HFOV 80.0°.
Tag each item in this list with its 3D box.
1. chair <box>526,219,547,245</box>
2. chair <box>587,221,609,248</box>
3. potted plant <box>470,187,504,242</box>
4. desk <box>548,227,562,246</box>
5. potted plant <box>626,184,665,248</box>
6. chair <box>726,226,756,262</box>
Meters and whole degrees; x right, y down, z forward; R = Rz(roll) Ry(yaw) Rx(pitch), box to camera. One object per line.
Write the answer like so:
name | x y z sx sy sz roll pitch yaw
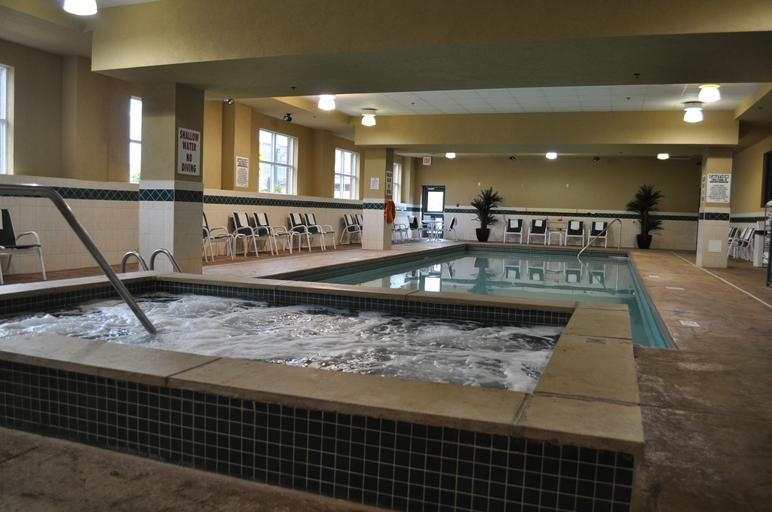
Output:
chair | 6.131 -1.012 18.449 0.878 1.165 1.095 2 3 22
chair | 8.198 -0.855 17.625 0.630 0.959 0.887 5 4 32
potted plant | 4.129 -1.751 19.169 1.009 2.282 0.773 1 4 -37
desk | 6.836 -0.776 18.638 0.795 0.688 0.598 0 1 21
potted plant | 9.752 -1.500 17.288 1.200 2.407 0.810 5 4 25
chair | 9.901 -0.383 12.823 0.529 0.770 2.281 6 4 36
